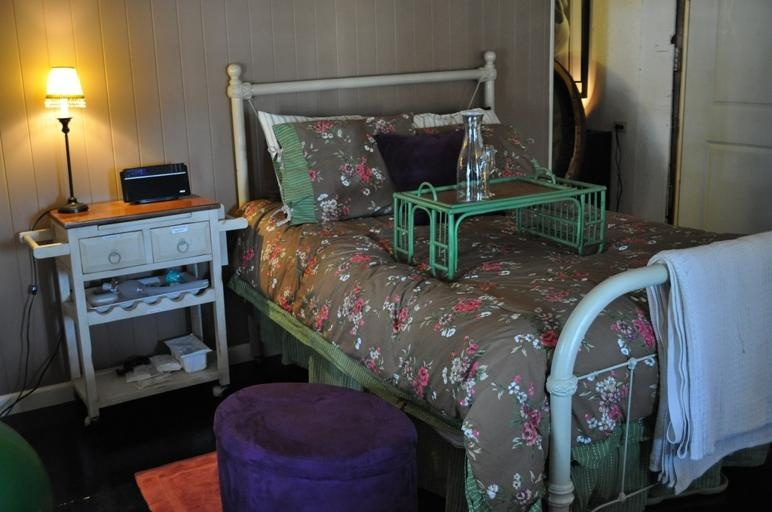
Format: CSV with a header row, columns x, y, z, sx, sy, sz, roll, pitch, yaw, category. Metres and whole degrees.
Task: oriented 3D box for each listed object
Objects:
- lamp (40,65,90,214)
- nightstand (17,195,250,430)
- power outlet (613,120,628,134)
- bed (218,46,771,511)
x,y,z,sx,sy,sz,roll,pitch,yaw,category
-1.618,-0.589,3.085,0.225,0.702,0.247,-12,18,-24,lamp
-1.381,0.295,3.174,0.945,0.920,0.374,-13,25,-32,nightstand
2.000,-1.092,5.158,0.016,0.086,0.115,-12,16,-37,power outlet
0.229,-0.154,3.032,1.642,1.736,2.542,-8,22,-19,bed
